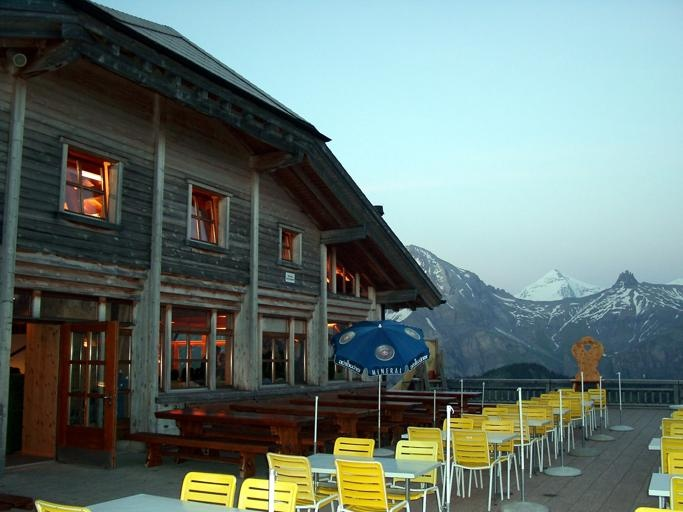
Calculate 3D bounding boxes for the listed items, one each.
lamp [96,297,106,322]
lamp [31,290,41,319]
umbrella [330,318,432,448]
[{"bbox_3d":[-4.901,1.100,13.453,0.139,0.456,0.327,-5,-14,8],"label":"lamp"},{"bbox_3d":[-5.764,0.909,12.369,0.111,0.528,0.187,-9,-15,23],"label":"lamp"},{"bbox_3d":[0.620,2.297,13.081,2.043,2.285,2.000,4,9,30],"label":"umbrella"}]
